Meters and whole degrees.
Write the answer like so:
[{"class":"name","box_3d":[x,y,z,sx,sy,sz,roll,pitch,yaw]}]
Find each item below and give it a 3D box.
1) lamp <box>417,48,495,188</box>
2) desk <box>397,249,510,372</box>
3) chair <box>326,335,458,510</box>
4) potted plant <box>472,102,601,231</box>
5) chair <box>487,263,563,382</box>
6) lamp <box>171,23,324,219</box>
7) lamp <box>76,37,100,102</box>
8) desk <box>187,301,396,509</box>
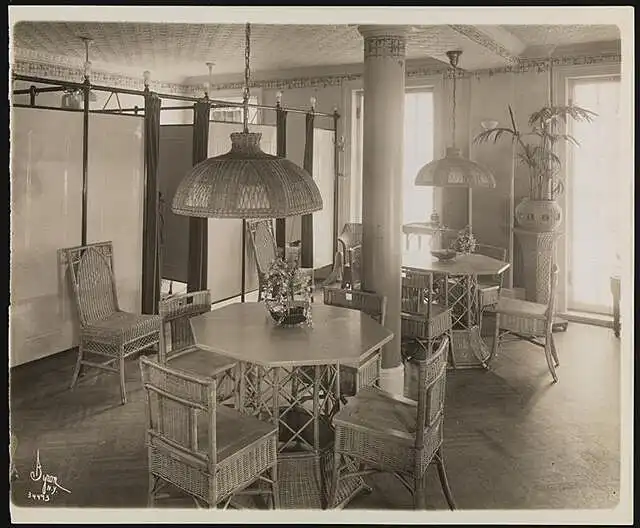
[{"class":"lamp","box_3d":[1.337,-1.477,5.850,0.656,1.303,0.714,5,12,30]},{"class":"desk","box_3d":[1.358,0.530,6.148,1.127,1.000,1.270,-6,-7,22]},{"class":"chair","box_3d":[0.412,1.018,3.564,0.655,1.053,0.604,9,13,38]},{"class":"potted plant","box_3d":[2.644,-1.040,7.543,1.519,1.838,1.357,-1,-3,24]},{"class":"chair","box_3d":[1.997,0.513,5.782,0.648,1.090,0.622,6,10,27]},{"class":"lamp","box_3d":[-0.371,-0.661,3.181,0.662,1.295,0.696,-4,8,-31]},{"class":"lamp","box_3d":[-2.501,-2.119,6.276,0.181,0.604,0.168,5,7,-1]},{"class":"desk","box_3d":[-0.202,0.802,4.227,1.181,0.893,1.261,3,17,4]}]
